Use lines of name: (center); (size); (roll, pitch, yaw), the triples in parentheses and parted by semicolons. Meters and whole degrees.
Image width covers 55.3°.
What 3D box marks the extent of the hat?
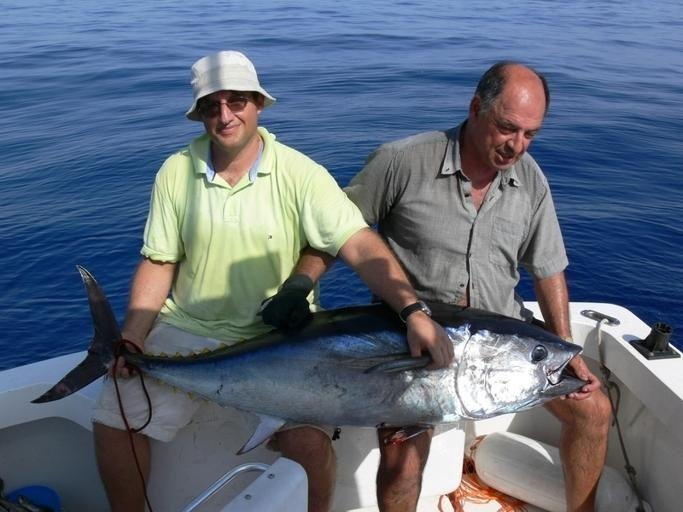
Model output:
hat: (-0.689, -1.070, 3.987); (0.391, 0.249, 0.481); (-14, -4, 3)

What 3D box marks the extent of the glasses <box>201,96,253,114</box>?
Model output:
glasses: (-0.691, -0.885, 3.849); (0.298, 0.117, 0.095); (3, 34, 0)

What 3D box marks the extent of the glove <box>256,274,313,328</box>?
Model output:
glove: (-0.292, 0.269, 3.728); (0.300, 0.131, 0.249); (-21, 33, 1)
